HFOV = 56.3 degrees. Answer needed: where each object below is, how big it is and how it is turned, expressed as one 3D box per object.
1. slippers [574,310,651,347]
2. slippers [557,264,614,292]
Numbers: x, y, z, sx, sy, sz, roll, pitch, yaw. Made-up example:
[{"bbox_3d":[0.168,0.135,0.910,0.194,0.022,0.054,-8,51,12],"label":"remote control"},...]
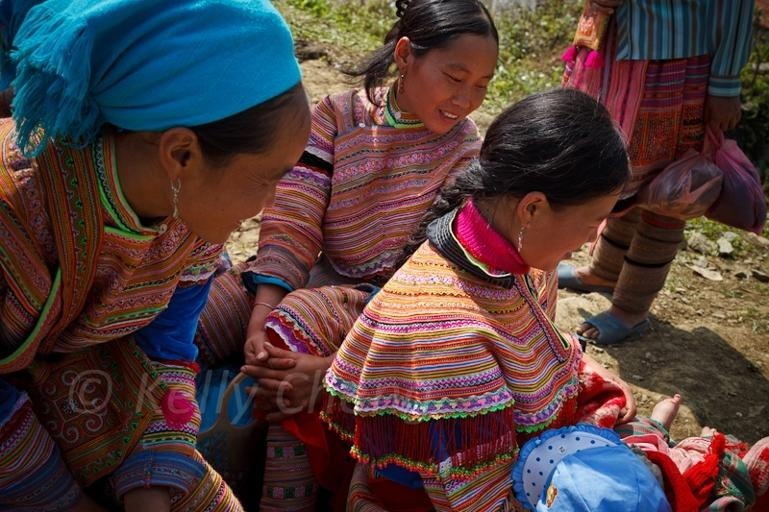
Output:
[{"bbox_3d":[1.266,0.403,4.063,0.426,0.131,0.204,-10,40,-14],"label":"slippers"},{"bbox_3d":[1.209,0.153,4.413,0.446,0.138,0.169,8,12,6],"label":"slippers"}]
